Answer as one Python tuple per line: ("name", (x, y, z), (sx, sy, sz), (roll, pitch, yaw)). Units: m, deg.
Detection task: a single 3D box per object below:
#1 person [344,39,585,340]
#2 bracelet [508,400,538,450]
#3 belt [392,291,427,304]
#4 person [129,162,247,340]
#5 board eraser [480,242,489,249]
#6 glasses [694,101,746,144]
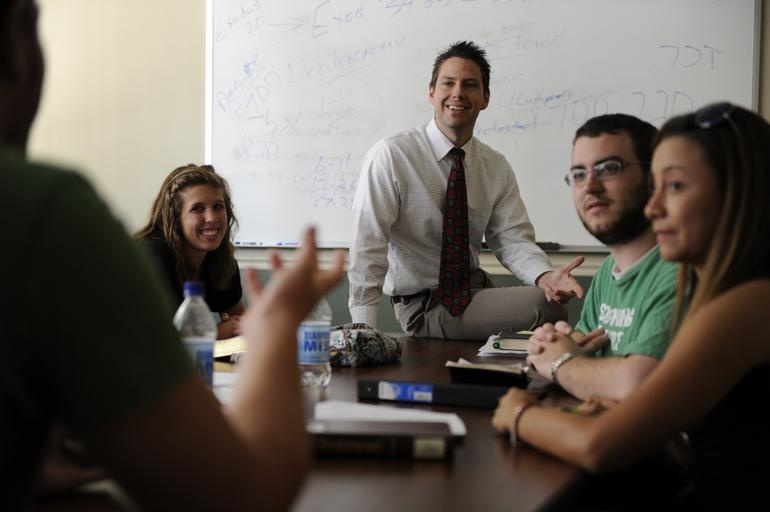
("person", (0.394, -0.206, 2.741), (1.003, 1.566, 0.764), (2, -5, 12))
("bracelet", (0.219, 0.268, 0.962), (0.012, 0.056, 0.056), (16, 39, 7))
("belt", (0.119, 0.188, 2.688), (0.104, 0.045, 0.079), (-21, -12, 32))
("person", (-0.845, -0.013, 2.513), (0.450, 0.762, 0.567), (9, 13, 29))
("board eraser", (0.540, -0.058, 3.155), (0.037, 0.039, 0.066), (-4, -7, 4))
("glasses", (0.577, -0.242, 1.037), (0.077, 0.033, 0.087), (-9, 37, 19))
